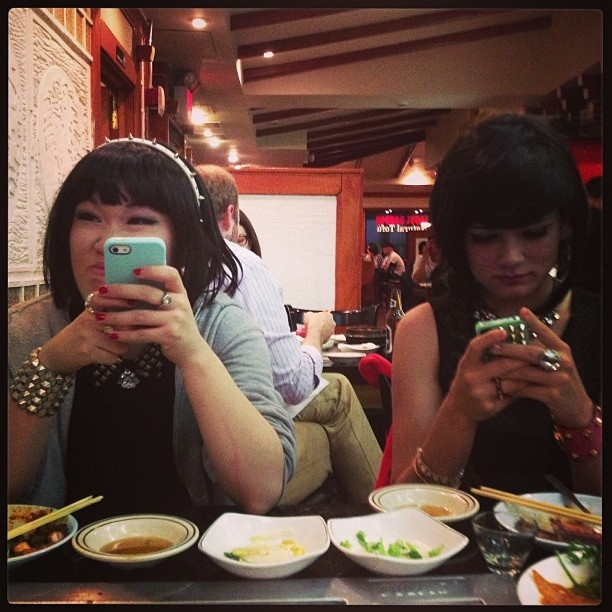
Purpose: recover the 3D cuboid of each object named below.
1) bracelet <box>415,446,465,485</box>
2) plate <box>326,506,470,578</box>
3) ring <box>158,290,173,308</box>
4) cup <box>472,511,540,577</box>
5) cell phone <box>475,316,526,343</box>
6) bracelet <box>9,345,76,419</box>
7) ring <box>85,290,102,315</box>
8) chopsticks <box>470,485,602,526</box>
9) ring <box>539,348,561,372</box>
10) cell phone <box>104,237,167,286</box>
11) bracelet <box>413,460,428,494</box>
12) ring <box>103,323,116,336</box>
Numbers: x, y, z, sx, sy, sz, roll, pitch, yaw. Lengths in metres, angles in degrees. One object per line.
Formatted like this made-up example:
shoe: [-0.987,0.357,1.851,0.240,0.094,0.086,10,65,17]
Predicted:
bracelet: [0.241,0.282,0.974,0.060,0.073,0.028,1,11,1]
plate: [0.153,0.404,0.899,0.136,0.042,0.121,-1,9,-4]
ring: [-0.217,-0.009,0.817,0.011,0.019,0.022,8,31,-14]
cup: [0.328,0.390,0.873,0.081,0.066,0.086,0,-6,0]
cell phone: [0.330,0.043,0.901,0.091,0.048,0.068,-2,3,3]
bracelet: [-0.453,0.141,0.950,0.094,0.110,0.118,29,-6,7]
ring: [-0.340,-0.004,0.836,0.017,0.041,0.036,9,12,23]
chopsticks: [0.403,0.351,0.917,0.248,0.021,0.013,14,49,19]
ring: [0.410,0.093,0.888,0.031,0.033,0.009,-4,14,-2]
cell phone: [-0.261,-0.068,0.810,0.086,0.083,0.095,-3,3,-15]
bracelet: [0.209,0.313,0.975,0.008,0.035,0.033,-21,31,-6]
ring: [-0.317,0.038,0.851,0.019,0.019,0.014,2,3,13]
